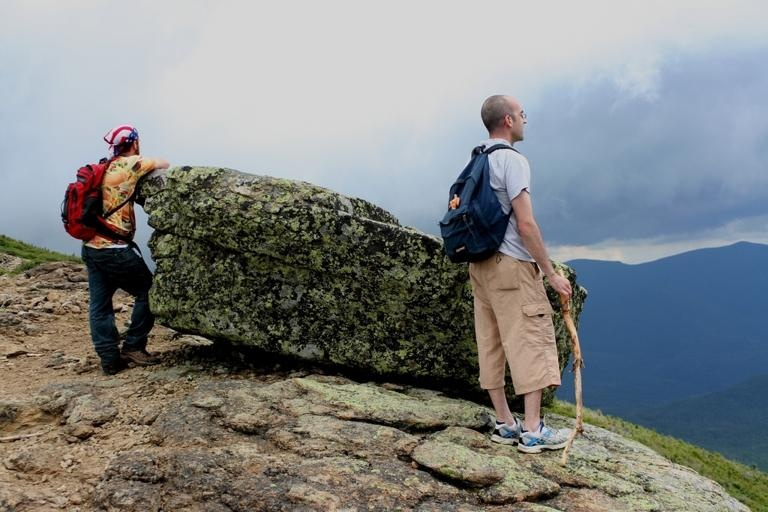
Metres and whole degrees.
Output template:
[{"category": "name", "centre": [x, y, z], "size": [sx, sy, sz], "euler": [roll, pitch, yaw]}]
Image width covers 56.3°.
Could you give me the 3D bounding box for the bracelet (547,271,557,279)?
[{"category": "bracelet", "centre": [2.633, 0.288, 11.266], "size": [0.184, 0.103, 0.114], "euler": [-3, -6, 12]}]
